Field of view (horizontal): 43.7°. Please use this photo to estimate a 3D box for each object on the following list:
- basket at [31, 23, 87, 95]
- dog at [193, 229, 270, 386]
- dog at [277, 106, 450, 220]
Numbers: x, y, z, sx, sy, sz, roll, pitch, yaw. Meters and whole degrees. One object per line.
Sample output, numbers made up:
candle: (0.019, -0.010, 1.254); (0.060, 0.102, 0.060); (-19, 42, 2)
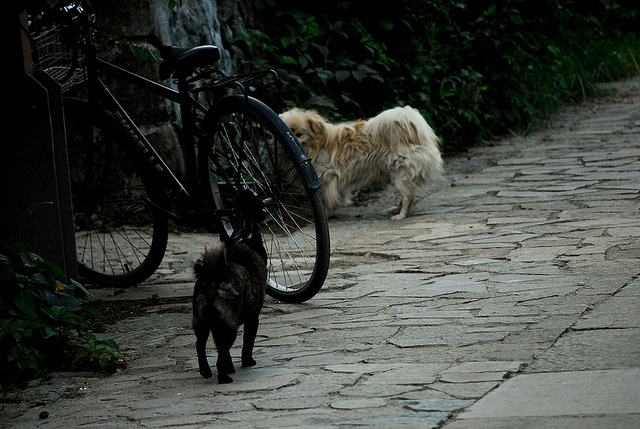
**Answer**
basket: (-2.017, -1.325, 6.144); (0.380, 0.515, 0.563); (0, 19, -18)
dog: (-0.536, 0.505, 4.615); (0.399, 0.765, 0.989); (2, 4, 9)
dog: (0.483, -0.487, 8.037); (1.948, 1.043, 0.575); (1, 2, 32)
